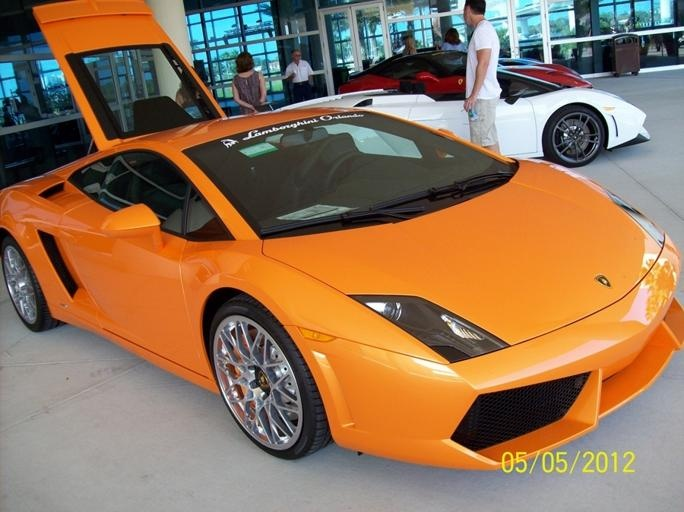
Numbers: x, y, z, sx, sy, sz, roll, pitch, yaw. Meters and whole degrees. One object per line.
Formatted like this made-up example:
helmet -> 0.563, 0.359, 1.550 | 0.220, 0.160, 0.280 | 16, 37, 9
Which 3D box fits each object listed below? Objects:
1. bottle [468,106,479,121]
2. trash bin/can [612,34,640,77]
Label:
bottle -> 1.629, -1.731, 5.675 | 0.088, 0.132, 0.143 | -27, 28, -32
trash bin/can -> 9.823, -6.808, 15.997 | 0.973, 1.336, 0.872 | -7, 7, -6
